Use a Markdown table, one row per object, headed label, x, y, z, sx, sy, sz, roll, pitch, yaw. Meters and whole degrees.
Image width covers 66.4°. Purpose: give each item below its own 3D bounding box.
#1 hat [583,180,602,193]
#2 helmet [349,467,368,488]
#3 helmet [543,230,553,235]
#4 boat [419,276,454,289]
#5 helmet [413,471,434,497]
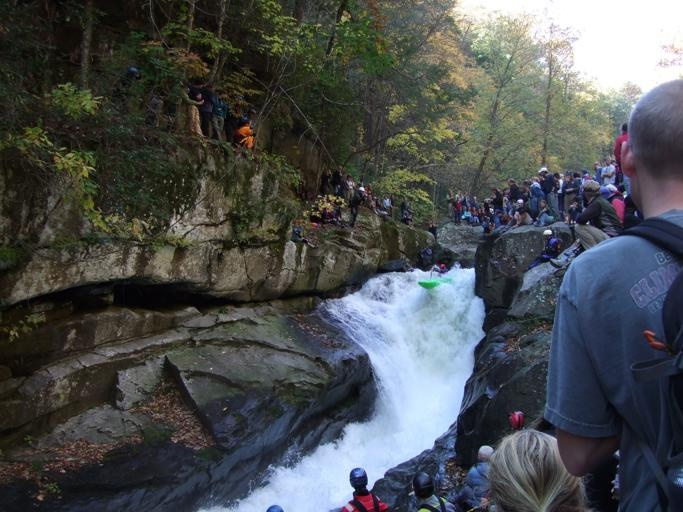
| label | x | y | z | sx | sy | sz | roll | pitch | yaw |
| --- | --- | --- | --- | --- | --- | --- | --- | --- | --- |
| hat | 4.846 | -1.354 | 10.212 | 0.244 | 0.319 | 0.301 | 22 | 8 | 38 |
| helmet | 0.261 | 3.726 | 8.715 | 0.312 | 0.412 | 0.403 | -2 | -22 | -10 |
| helmet | 5.992 | -0.684 | 15.190 | 0.178 | 0.153 | 0.139 | -19 | 7 | 35 |
| boat | 3.481 | 0.973 | 19.284 | 0.456 | 0.280 | 2.033 | 20 | 14 | 29 |
| helmet | 1.111 | 3.096 | 7.153 | 0.266 | 0.354 | 0.334 | -7 | 44 | 5 |
